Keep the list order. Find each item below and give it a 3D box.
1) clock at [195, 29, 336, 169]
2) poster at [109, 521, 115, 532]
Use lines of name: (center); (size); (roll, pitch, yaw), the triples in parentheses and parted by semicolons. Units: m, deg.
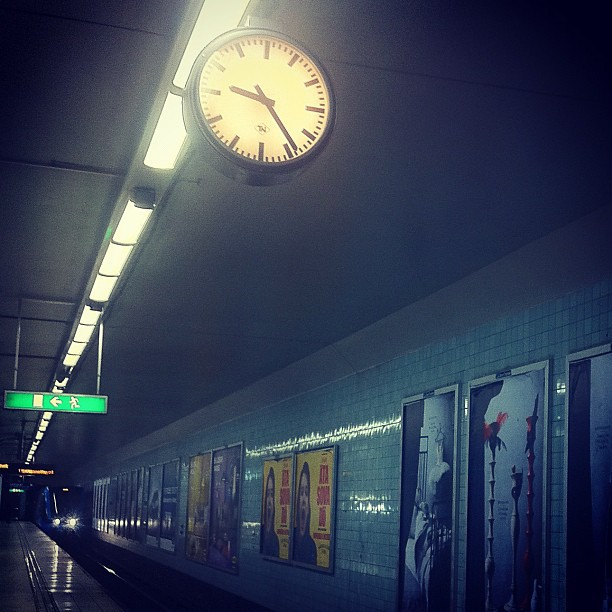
clock: (-0.169, -0.850, 2.920); (0.613, 0.501, 0.222); (11, -17, -28)
poster: (-8.042, 8.947, 28.735); (0.072, 0.425, 1.898); (6, -18, -20)
